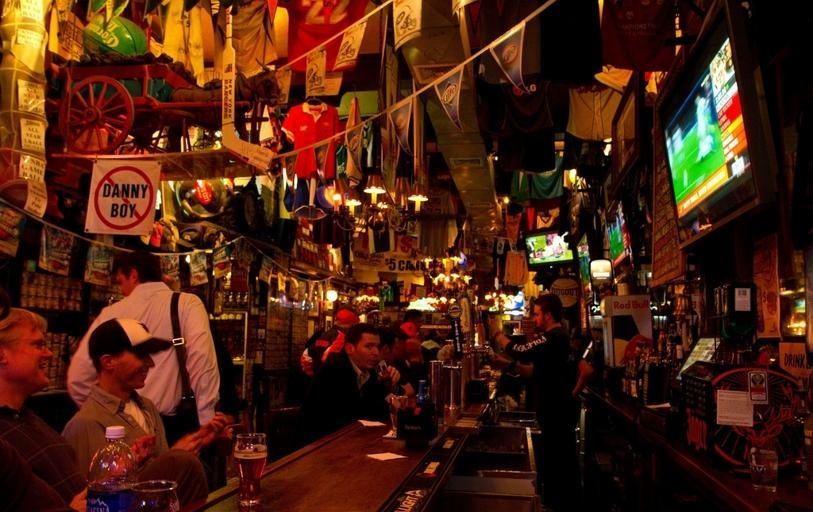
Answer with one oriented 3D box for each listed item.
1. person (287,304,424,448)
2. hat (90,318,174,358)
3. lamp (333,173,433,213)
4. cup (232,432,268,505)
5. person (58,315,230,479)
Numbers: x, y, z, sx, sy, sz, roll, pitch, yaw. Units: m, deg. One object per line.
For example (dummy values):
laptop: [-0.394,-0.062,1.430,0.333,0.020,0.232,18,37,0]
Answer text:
person: [-0.533,1.282,6.702,1.087,1.704,0.742,-2,-11,-6]
hat: [-1.927,0.542,4.676,0.439,0.241,0.285,3,-1,-14]
lamp: [-0.523,-0.928,10.409,1.486,0.710,1.580,3,-2,17]
cup: [-0.843,1.153,3.572,0.159,0.391,0.236,2,-10,-14]
person: [-1.754,0.994,5.029,1.092,1.603,0.924,-5,-7,-9]
